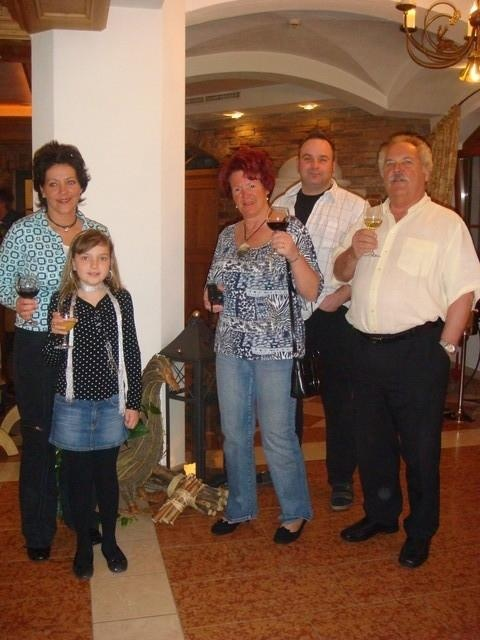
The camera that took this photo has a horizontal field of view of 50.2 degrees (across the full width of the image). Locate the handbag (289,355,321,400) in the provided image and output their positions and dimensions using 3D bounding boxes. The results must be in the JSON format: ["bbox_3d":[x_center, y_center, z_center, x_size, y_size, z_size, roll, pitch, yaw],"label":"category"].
[{"bbox_3d":[0.276,0.227,2.064,0.088,0.171,0.233,1,0,26],"label":"handbag"}]

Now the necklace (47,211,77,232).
[{"bbox_3d":[-0.683,-0.381,1.986,0.071,0.073,0.018,-19,10,-30],"label":"necklace"}]

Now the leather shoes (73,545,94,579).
[{"bbox_3d":[-0.573,0.887,1.870,0.051,0.053,0.142,0,10,-17],"label":"leather shoes"}]

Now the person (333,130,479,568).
[{"bbox_3d":[0.663,0.099,2.087,0.526,1.729,0.396,1,0,10],"label":"person"}]

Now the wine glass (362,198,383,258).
[{"bbox_3d":[0.515,-0.403,1.975,0.068,0.181,0.113,1,0,15],"label":"wine glass"}]

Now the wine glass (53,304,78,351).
[{"bbox_3d":[-0.587,0.021,1.718,0.064,0.158,0.122,1,0,-19],"label":"wine glass"}]

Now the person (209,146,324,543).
[{"bbox_3d":[0.118,0.129,2.110,0.436,1.604,0.584,1,0,-37],"label":"person"}]

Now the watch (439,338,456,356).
[{"bbox_3d":[0.797,0.103,1.952,0.046,0.031,0.061,36,-13,8],"label":"watch"}]

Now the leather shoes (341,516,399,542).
[{"bbox_3d":[0.549,0.912,2.278,0.283,0.111,0.097,-2,5,-14],"label":"leather shoes"}]

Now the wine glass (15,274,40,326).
[{"bbox_3d":[-0.762,-0.075,1.834,0.073,0.162,0.201,1,0,-23],"label":"wine glass"}]

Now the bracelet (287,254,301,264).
[{"bbox_3d":[0.193,-0.221,1.850,0.043,0.032,0.045,1,0,5],"label":"bracelet"}]

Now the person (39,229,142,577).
[{"bbox_3d":[-0.561,0.315,1.844,0.232,1.225,0.340,1,0,36],"label":"person"}]

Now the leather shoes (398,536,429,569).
[{"bbox_3d":[0.679,0.912,1.998,0.062,0.065,0.168,-2,-1,31],"label":"leather shoes"}]
